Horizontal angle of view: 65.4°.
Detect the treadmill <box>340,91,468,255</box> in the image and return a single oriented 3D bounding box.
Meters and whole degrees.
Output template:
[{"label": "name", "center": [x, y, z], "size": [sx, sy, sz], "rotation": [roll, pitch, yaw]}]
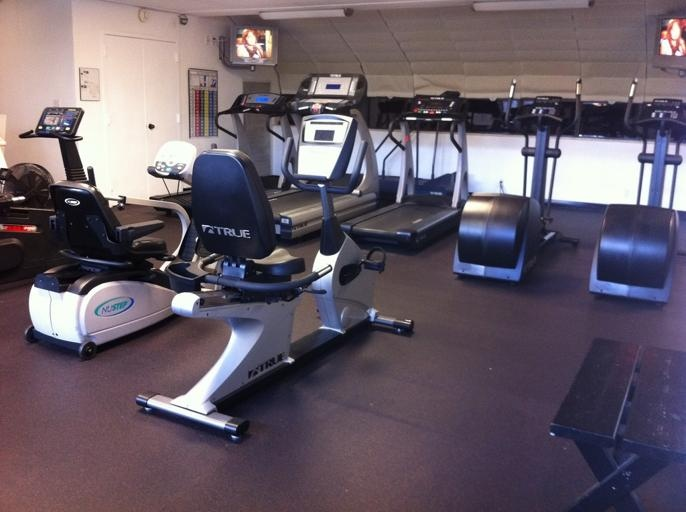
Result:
[{"label": "treadmill", "center": [0.904, -1.191, 6.917], "size": [1.090, 1.823, 2.146], "rotation": [10, 20, 36]}]
